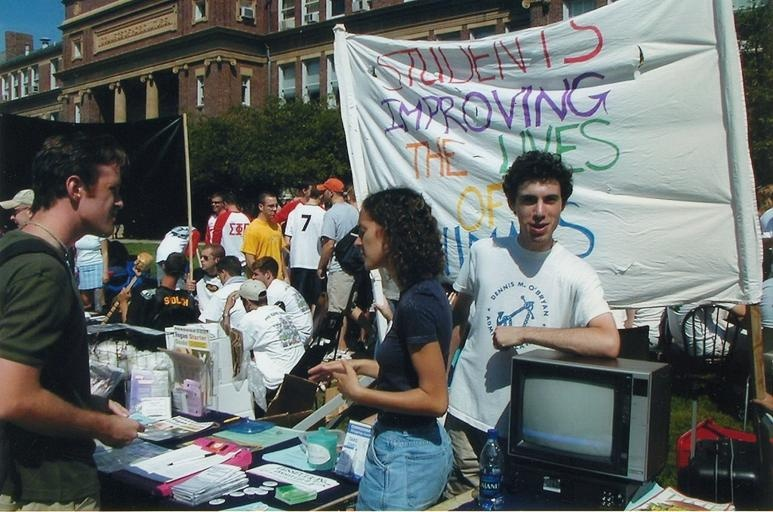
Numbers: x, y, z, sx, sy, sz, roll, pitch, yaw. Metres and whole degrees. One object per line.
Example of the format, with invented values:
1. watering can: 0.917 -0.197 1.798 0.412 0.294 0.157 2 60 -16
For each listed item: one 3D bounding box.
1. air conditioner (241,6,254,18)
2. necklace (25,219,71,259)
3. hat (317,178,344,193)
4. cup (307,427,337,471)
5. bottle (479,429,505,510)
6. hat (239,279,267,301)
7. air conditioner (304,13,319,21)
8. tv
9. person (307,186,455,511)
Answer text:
1. air conditioner: -6.056 -10.545 36.293 0.316 0.527 0.602 -2 -1 41
2. necklace: -2.063 -0.131 5.078 0.257 0.071 0.196 40 -16 -28
3. hat: -0.691 -0.899 10.669 0.288 0.186 0.442 -5 12 -35
4. cup: -0.445 1.319 5.797 0.274 0.284 0.221 1 1 4
5. bottle: 0.673 1.349 5.358 0.158 0.493 0.154 0 -3 0
6. hat: -1.292 0.321 8.130 0.172 0.130 0.237 -24 36 -36
7. air conditioner: -3.007 -9.631 33.814 0.286 0.392 0.549 -2 8 -29
8. tv: 1.317 0.791 5.348 1.066 0.797 0.758 1 -2 31
9. person: 0.058 0.579 5.309 0.714 2.032 0.433 0 -3 3
